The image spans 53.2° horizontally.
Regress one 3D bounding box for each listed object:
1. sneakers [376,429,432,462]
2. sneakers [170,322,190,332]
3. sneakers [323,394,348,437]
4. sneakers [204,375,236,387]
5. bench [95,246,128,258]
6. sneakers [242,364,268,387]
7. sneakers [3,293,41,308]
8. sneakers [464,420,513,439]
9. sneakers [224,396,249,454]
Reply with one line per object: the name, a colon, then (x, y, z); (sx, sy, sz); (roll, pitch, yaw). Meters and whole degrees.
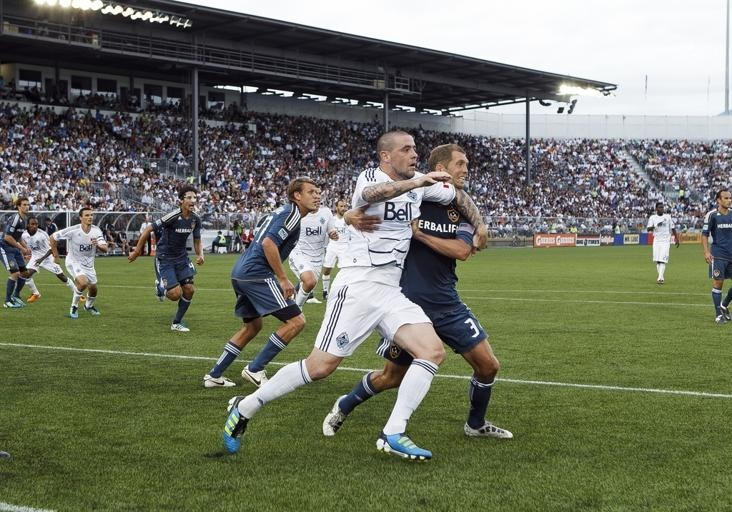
sneakers: (0.304, 1.514, 6.020); (0.492, 0.231, 0.192); (15, -4, 0)
sneakers: (-2.782, 1.069, 11.013); (0.314, 0.130, 0.117); (2, 5, 16)
sneakers: (-0.276, 1.391, 6.444); (0.215, 0.368, 0.238); (-1, 5, -5)
sneakers: (-1.575, 1.350, 7.879); (0.367, 0.157, 0.132); (1, 1, -14)
bench: (-10.417, -0.202, 30.187); (1.635, 0.465, 0.827); (2, 6, 20)
sneakers: (-1.212, 1.290, 7.968); (0.255, 0.228, 0.317); (-1, 5, -11)
sneakers: (-6.555, 0.902, 14.079); (0.642, 0.287, 0.221); (-14, 2, -10)
sneakers: (1.083, 1.549, 6.496); (0.431, 0.163, 0.158); (0, -1, -1)
sneakers: (-1.080, 1.415, 6.106); (0.219, 0.467, 0.216); (-1, 5, -7)
